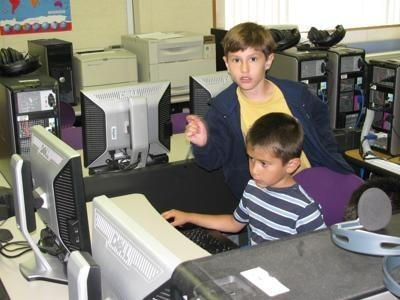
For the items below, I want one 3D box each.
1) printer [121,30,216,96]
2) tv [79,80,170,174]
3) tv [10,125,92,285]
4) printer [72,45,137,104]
[{"bbox_3d":[-0.332,-1.013,4.343,0.949,0.620,0.961,-7,19,-10],"label":"printer"},{"bbox_3d":[-0.437,-0.127,2.129,0.502,0.488,0.193,-10,31,-21],"label":"tv"},{"bbox_3d":[-0.556,0.224,1.326,0.249,0.495,0.484,-12,25,-31],"label":"tv"},{"bbox_3d":[-0.948,-0.748,3.982,0.592,0.518,0.590,-6,2,-6],"label":"printer"}]
